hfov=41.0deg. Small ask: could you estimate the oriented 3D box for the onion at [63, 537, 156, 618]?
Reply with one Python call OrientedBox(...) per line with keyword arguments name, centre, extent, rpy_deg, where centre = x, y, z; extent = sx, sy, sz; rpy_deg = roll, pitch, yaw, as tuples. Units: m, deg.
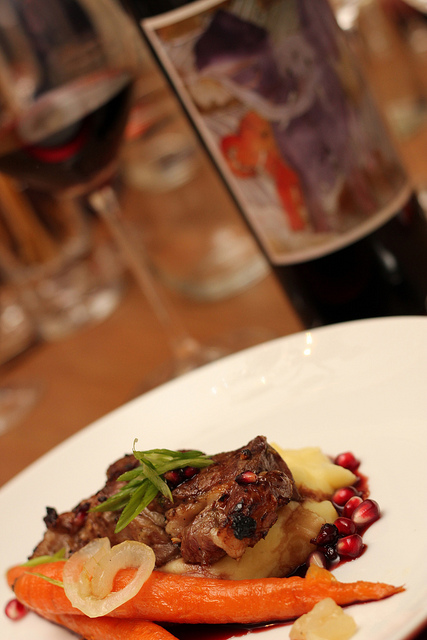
OrientedBox(name="onion", centre=(-0.184, 0.426, 0.958), extent=(0.041, 0.138, 0.140), rpy_deg=(19, 80, 55))
